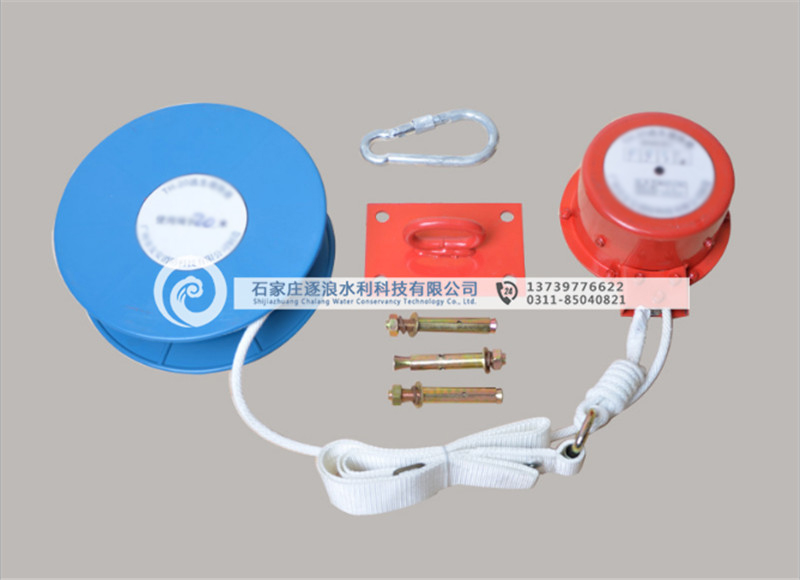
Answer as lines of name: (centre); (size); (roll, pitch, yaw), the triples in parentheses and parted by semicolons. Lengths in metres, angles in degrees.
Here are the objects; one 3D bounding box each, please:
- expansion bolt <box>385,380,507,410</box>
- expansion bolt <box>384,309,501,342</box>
expansion bolt: (0.220, 0.513, 4.811); (0.536, 0.116, 0.096); (4, -14, 2)
expansion bolt: (0.146, 0.149, 4.163); (0.489, 0.133, 0.135); (0, -38, -3)
